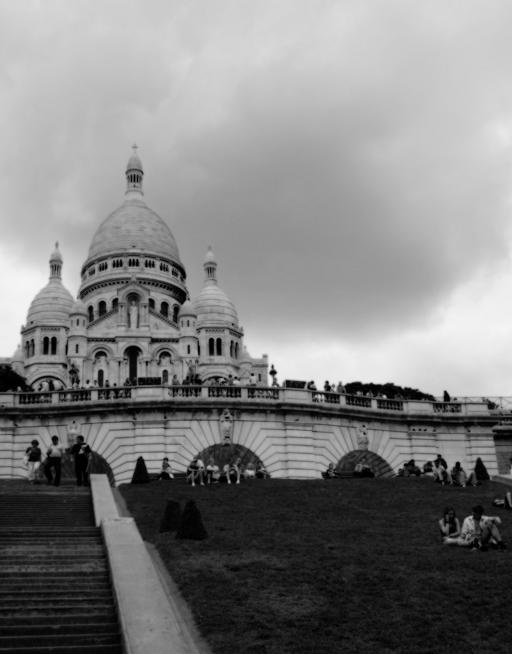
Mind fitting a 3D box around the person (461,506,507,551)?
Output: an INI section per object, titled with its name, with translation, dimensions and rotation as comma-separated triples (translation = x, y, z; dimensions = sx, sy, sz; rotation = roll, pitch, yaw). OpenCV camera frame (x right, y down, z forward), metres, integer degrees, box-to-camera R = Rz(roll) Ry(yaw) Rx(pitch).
[person]
translation = 4.518, 4.015, 16.283
dimensions = 0.723, 0.863, 0.821
rotation = 4, -29, -4
